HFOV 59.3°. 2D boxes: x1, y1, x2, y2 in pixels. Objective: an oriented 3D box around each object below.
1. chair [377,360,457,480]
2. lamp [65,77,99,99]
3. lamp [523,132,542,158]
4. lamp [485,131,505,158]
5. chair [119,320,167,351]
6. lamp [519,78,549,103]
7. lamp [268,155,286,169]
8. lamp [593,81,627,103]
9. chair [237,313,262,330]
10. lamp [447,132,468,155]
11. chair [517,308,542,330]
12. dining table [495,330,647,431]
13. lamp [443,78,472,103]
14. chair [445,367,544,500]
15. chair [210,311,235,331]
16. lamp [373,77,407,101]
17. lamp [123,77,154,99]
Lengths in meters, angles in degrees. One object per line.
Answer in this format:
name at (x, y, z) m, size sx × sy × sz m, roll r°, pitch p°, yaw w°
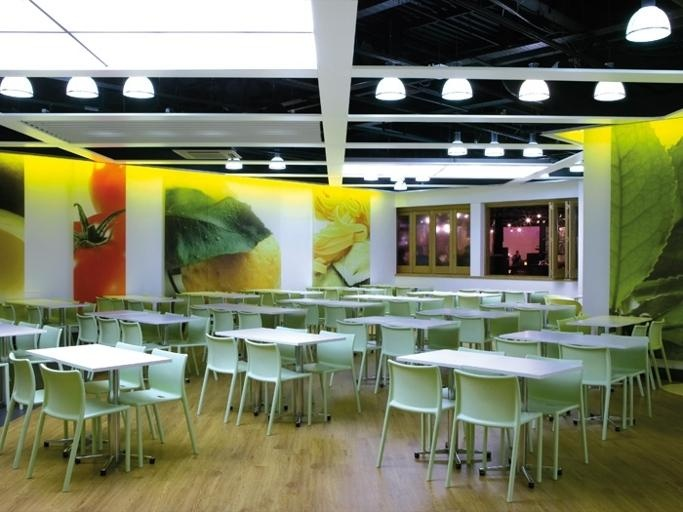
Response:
chair at (0.737, 1.538, 6.021) m, size 0.739 × 1.103 × 0.997 m, roll 1°, pitch 7°, yaw 5°
lamp at (-3.222, -2.112, 7.494) m, size 0.321 × 0.217 × 0.320 m, roll -11°, pitch 12°, yaw -28°
lamp at (3.356, -1.993, 10.634) m, size 0.359 × 0.400 × 0.355 m, roll -2°, pitch 4°, yaw -39°
lamp at (2.717, -2.013, 10.842) m, size 0.325 × 0.375 × 0.329 m, roll 1°, pitch 0°, yaw 36°
chair at (-2.791, 1.107, 8.451) m, size 0.519 × 0.724 × 0.440 m, roll -1°, pitch 2°, yaw -41°
lamp at (2.406, -2.070, 7.566) m, size 0.322 × 0.314 × 0.327 m, roll -3°, pitch -2°, yaw 44°
lamp at (-1.246, -1.835, 11.746) m, size 0.272 × 0.250 × 0.277 m, roll 4°, pitch 8°, yaw 39°
lamp at (3.394, -2.138, 7.645) m, size 0.321 × 0.193 × 0.592 m, roll 4°, pitch 8°, yaw 29°
chair at (-1.368, 0.927, 8.732) m, size 0.230 × 0.391 × 0.288 m, roll 2°, pitch 0°, yaw 24°
lamp at (2.073, -2.036, 10.819) m, size 0.278 × 0.322 × 0.283 m, roll 2°, pitch 3°, yaw 36°
chair at (2.938, 0.978, 9.439) m, size 0.300 × 0.444 × 0.385 m, roll 3°, pitch 2°, yaw 33°
dining table at (2.842, 1.462, 7.169) m, size 1.280 × 0.798 × 1.303 m, roll 1°, pitch 2°, yaw 36°
lamp at (1.424, -2.097, 7.421) m, size 0.338 × 0.218 × 0.331 m, roll 2°, pitch 7°, yaw 13°
chair at (1.407, 1.575, 5.513) m, size 0.888 × 1.129 × 0.630 m, roll 0°, pitch 7°, yaw -4°
chair at (-1.808, 0.982, 9.303) m, size 0.273 × 0.450 × 0.344 m, roll 1°, pitch 1°, yaw 17°
lamp at (0.577, -2.039, 7.394) m, size 0.288 × 0.200 × 0.291 m, roll 0°, pitch -2°, yaw -12°
lamp at (-2.522, -2.056, 7.555) m, size 0.338 × 0.239 × 0.334 m, roll -5°, pitch 8°, yaw -38°
